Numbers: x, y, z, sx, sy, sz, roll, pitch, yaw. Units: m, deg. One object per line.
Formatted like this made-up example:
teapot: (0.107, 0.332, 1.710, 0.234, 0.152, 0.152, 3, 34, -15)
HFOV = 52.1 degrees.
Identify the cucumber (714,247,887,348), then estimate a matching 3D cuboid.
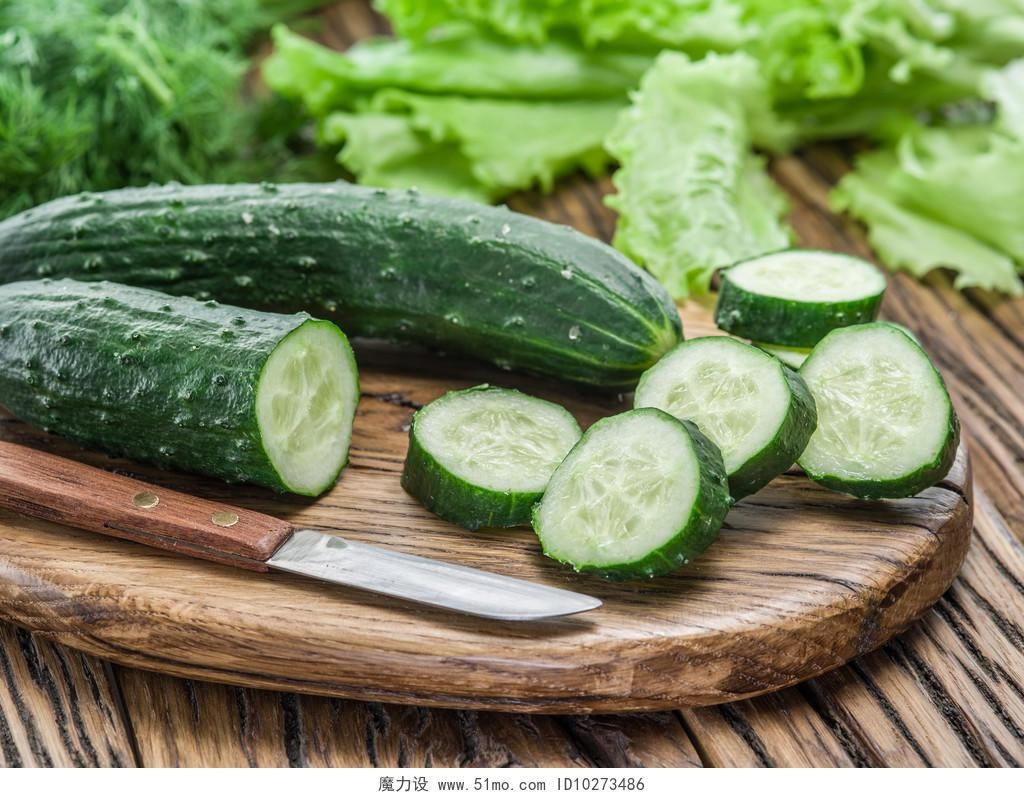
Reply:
cucumber: (0.511, -0.181, 1.938, 0.292, 0.074, 0.242, 1, 25, -8)

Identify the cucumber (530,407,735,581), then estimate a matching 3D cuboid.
cucumber: (0.191, 0.131, 1.518, 0.091, 0.263, 0.313, 19, 15, -27)

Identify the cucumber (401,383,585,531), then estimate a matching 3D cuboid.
cucumber: (-0.039, 0.088, 1.623, 0.249, 0.071, 0.247, -24, 45, -34)
